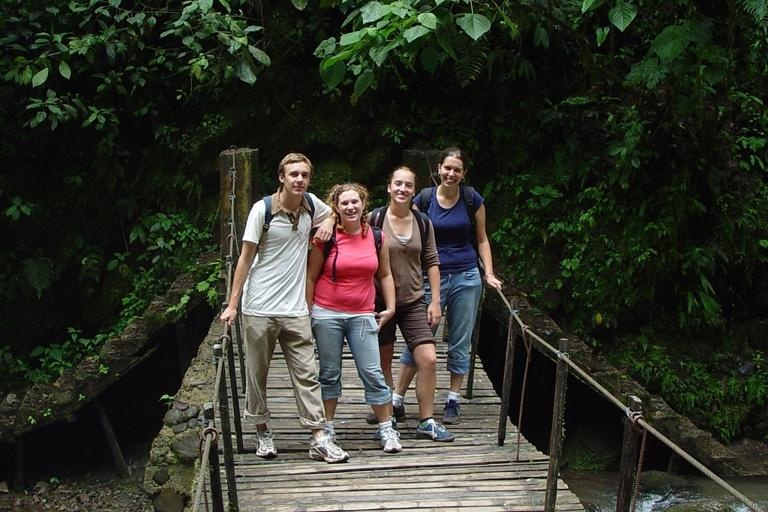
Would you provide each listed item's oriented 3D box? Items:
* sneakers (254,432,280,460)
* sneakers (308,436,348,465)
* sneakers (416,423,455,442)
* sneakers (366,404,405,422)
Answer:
[{"bbox_3d":[-1.319,2.101,8.488,0.151,0.167,0.341,-3,10,-18],"label":"sneakers"},{"bbox_3d":[-0.632,2.136,8.498,0.446,0.242,0.223,3,3,24],"label":"sneakers"},{"bbox_3d":[0.597,2.015,8.779,0.376,0.175,0.205,10,11,6],"label":"sneakers"},{"bbox_3d":[0.012,1.843,9.146,0.533,0.253,0.186,0,9,-11],"label":"sneakers"}]
